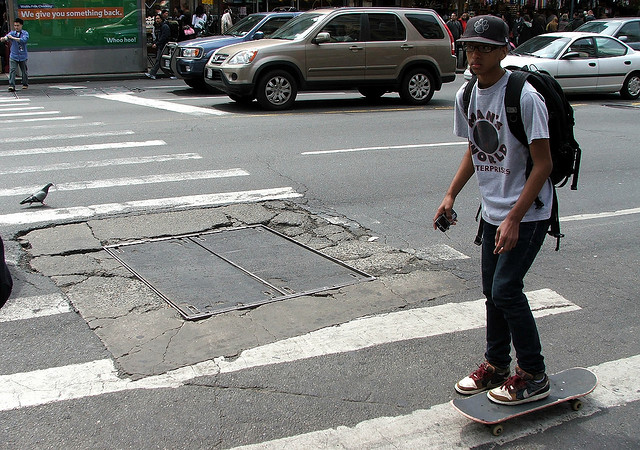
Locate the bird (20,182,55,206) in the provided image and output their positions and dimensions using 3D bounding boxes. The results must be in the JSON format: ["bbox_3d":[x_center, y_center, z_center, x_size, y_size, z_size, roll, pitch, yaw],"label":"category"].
[{"bbox_3d":[-3.949,-0.408,6.704,0.432,0.269,0.462,-15,22,-31],"label":"bird"}]

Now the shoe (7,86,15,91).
[{"bbox_3d":[-11.167,-4.925,17.408,0.247,0.118,0.243,2,-12,-20],"label":"shoe"}]

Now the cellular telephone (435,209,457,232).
[{"bbox_3d":[0.864,-0.028,3.310,0.183,0.100,0.043,-44,-4,-33],"label":"cellular telephone"}]

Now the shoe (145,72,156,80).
[{"bbox_3d":[-7.320,-6.449,20.824,0.310,0.282,0.655,-19,24,-38],"label":"shoe"}]

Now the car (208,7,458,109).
[{"bbox_3d":[0.699,-4.879,14.284,7.076,2.889,1.252,-9,20,-16],"label":"car"}]

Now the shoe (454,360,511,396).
[{"bbox_3d":[1.096,1.006,3.220,0.426,0.157,0.135,-7,15,-13],"label":"shoe"}]

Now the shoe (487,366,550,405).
[{"bbox_3d":[1.240,0.982,2.979,0.438,0.170,0.144,-8,13,-10],"label":"shoe"}]
